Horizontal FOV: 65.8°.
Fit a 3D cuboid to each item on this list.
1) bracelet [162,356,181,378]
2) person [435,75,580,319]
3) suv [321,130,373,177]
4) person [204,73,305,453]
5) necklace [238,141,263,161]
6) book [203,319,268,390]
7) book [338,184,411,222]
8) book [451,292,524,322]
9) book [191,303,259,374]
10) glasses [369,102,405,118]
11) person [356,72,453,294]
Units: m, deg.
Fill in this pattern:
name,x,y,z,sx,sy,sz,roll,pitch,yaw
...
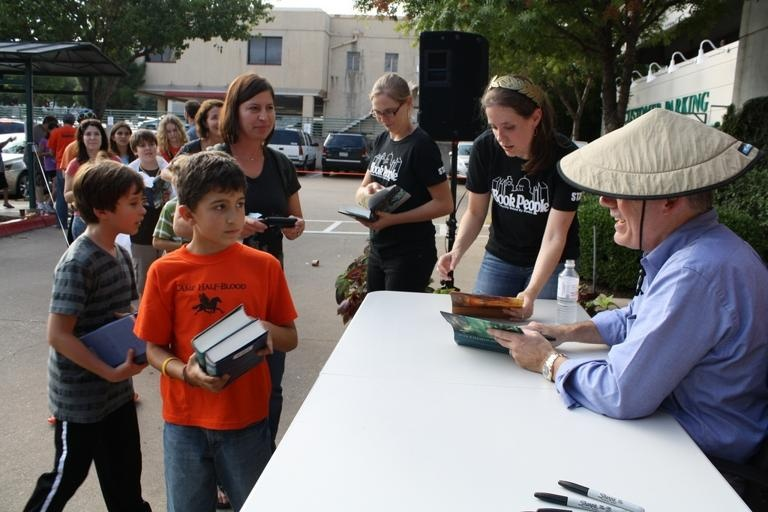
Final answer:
name,x,y,z,sx,sy,sz,roll,pitch,yaw
bracelet,-1.012,0.533,2.840,0.075,0.093,0.036,3,-10,9
person,1.076,-0.402,3.941,0.844,1.755,1.347,1,-3,-6
suv,-1.442,-4.166,24.879,2.309,2.052,4.102,2,18,3
person,-0.776,0.107,3.875,0.702,2.458,0.686,-8,12,-37
necklace,-0.833,-0.675,3.775,0.097,0.078,0.101,1,1,4
book,-0.668,0.431,2.649,0.301,0.125,0.300,-34,-11,-25
book,-0.038,-0.371,4.168,0.345,0.149,0.263,1,3,26
book,0.565,0.245,3.455,0.407,0.149,0.426,3,10,3
book,-0.687,0.366,2.640,0.267,0.277,0.257,0,-7,-6
glasses,-0.007,-1.085,4.346,0.165,0.109,0.293,-8,17,-37
person,0.146,-0.465,4.533,0.595,1.810,0.915,2,0,3
